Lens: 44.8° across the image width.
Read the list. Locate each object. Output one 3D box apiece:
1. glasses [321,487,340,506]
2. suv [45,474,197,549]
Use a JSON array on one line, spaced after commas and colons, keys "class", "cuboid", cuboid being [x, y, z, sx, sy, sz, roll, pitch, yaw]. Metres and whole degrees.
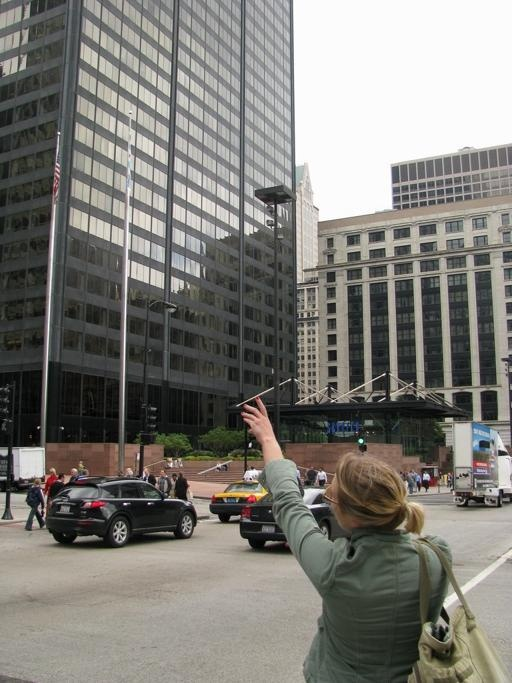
[{"class": "glasses", "cuboid": [0.239, 0.497, 1.978, 0.054, 0.018, 0.052, 2, 3, -32]}, {"class": "suv", "cuboid": [-3.349, 4.286, 16.367, 1.685, 1.392, 3.824, -8, -11, 39]}]
